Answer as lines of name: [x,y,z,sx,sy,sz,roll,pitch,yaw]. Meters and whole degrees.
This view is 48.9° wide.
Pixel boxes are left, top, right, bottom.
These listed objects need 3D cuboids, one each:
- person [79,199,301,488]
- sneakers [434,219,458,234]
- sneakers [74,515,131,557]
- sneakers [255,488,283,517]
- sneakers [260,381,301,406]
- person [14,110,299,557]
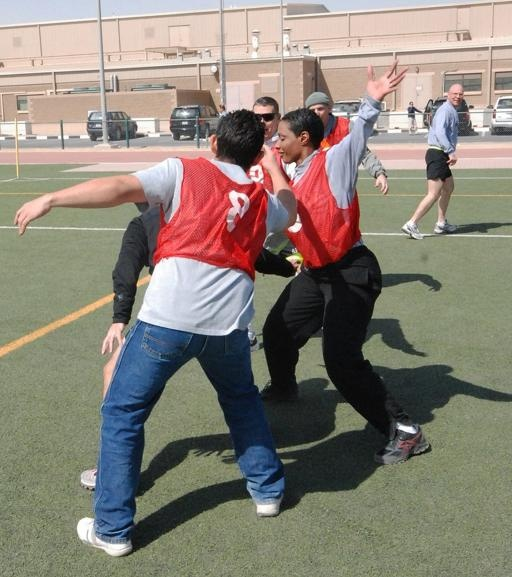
person: [-0.497,0.203,2.724,0.959,1.403,0.373,12,-9,-15]
sneakers: [3.182,-1.007,9.386,0.424,0.182,0.160,-7,17,-31]
sneakers: [-0.595,0.953,2.187,0.261,0.101,0.097,20,8,32]
sneakers: [0.051,0.928,2.430,0.079,0.131,0.088,-3,47,3]
sneakers: [0.158,0.690,3.653,0.302,0.125,0.104,1,7,-2]
person: [-0.284,0.270,2.162,0.979,1.503,0.299,-9,14,-32]
